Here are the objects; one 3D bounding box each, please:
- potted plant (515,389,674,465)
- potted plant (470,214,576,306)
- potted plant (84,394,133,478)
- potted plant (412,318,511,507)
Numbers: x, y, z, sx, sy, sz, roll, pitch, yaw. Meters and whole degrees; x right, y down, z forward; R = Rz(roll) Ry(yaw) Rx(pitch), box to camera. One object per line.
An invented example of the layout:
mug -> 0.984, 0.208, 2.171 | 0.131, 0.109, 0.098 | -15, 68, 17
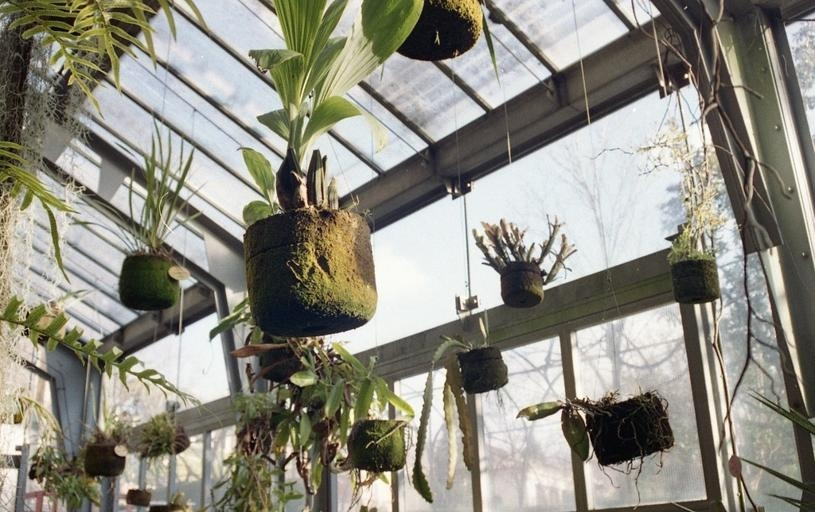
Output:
potted plant -> 1.157, 1.002, 5.122 | 0.670, 0.436, 0.530 | -5, -16, -31
potted plant -> 0.827, 0.032, 6.097 | 0.626, 0.546, 0.623 | 5, -29, -6
potted plant -> -2.588, 1.582, 7.457 | 0.339, 0.699, 0.775 | 8, -31, -19
potted plant -> 0.426, 1.193, 6.354 | 0.474, 1.434, 0.558 | 3, -57, 3
